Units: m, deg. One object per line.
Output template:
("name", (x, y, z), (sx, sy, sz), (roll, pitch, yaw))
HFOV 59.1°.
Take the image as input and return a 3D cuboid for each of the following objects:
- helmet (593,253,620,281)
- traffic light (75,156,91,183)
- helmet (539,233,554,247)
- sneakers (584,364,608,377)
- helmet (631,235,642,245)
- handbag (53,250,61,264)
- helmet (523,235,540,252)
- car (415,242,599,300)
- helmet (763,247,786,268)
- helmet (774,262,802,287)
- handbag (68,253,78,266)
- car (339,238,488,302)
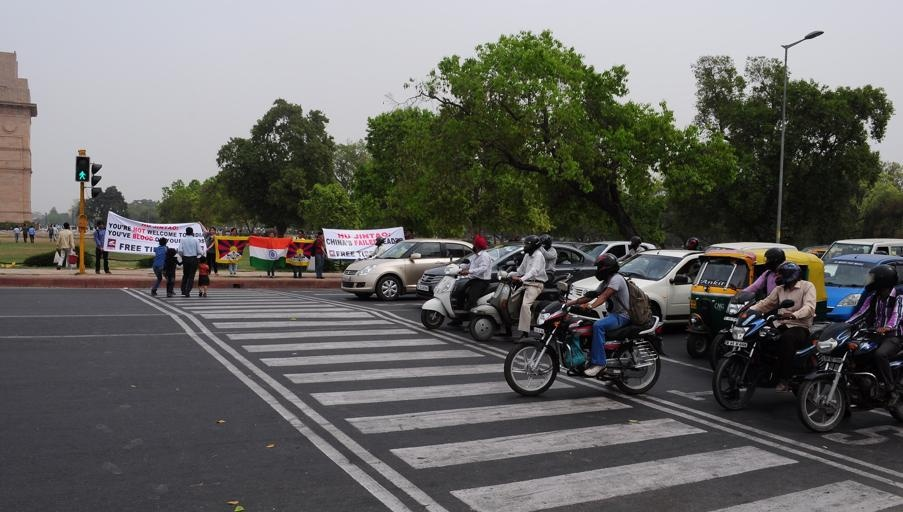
("helmet", (3.256, 0.207, 17.007), (0.606, 0.534, 0.495), (6, 5, 23))
("traffic light", (-13.995, -3.368, 30.358), (0.403, 0.996, 1.017), (1, 4, -30))
("helmet", (2.429, -0.406, 20.353), (0.314, 0.361, 0.379), (1, 0, 10))
("sneakers", (2.988, 2.367, 16.522), (0.513, 0.200, 0.177), (-2, 3, -20))
("helmet", (5.428, -0.483, 23.671), (0.254, 0.258, 0.301), (-5, 26, -31))
("handbag", (-17.073, 0.018, 34.493), (0.608, 0.569, 0.230), (7, 5, 44))
("helmet", (1.963, -0.336, 19.802), (0.431, 0.392, 0.390), (9, 7, 15))
("car", (1.712, 0.243, 24.616), (4.801, 1.493, 2.166), (2, -1, -9))
("helmet", (7.016, 0.018, 17.228), (0.474, 0.451, 0.410), (7, 10, 37))
("helmet", (7.044, 0.367, 16.492), (0.553, 0.478, 0.444), (4, 7, 33))
("handbag", (-16.511, 0.099, 34.816), (0.483, 0.452, 0.456), (3, -12, -5))
("car", (-1.610, 0.497, 28.519), (4.286, 1.681, 2.187), (1, -2, -25))
